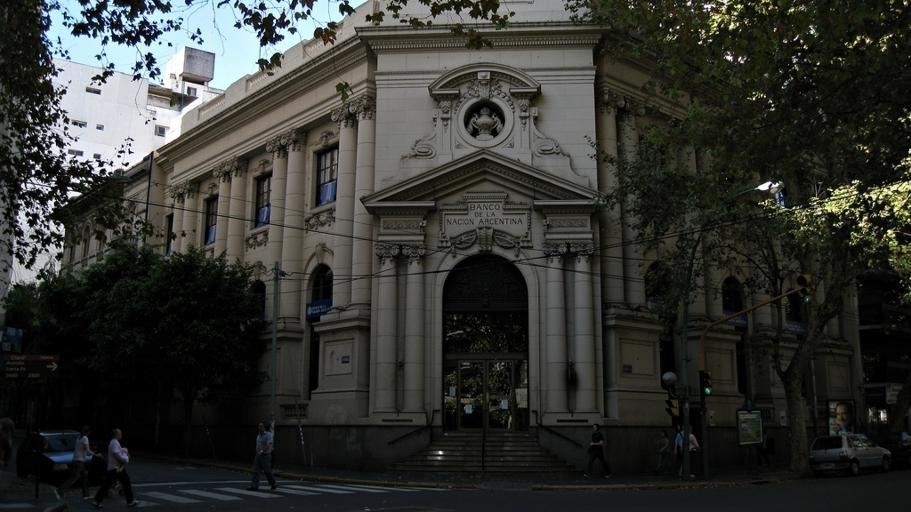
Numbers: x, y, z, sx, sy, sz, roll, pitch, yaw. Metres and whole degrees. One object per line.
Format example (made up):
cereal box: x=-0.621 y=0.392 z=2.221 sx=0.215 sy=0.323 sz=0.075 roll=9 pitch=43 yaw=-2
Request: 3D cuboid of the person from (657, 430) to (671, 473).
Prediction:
person: x=11.657 y=10.954 z=47.061 sx=0.749 sy=2.398 sz=1.351 roll=-7 pitch=-21 yaw=21

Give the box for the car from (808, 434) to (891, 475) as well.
car: x=22.921 y=11.623 z=48.354 sx=7.747 sy=2.303 sz=1.920 roll=15 pitch=-24 yaw=-38

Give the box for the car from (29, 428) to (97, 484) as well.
car: x=-19.572 y=9.714 z=41.151 sx=2.424 sy=2.051 sz=4.466 roll=2 pitch=-1 yaw=-45

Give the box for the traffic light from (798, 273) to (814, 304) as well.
traffic light: x=17.315 y=1.513 z=41.615 sx=0.547 sy=1.476 sz=1.355 roll=-8 pitch=-20 yaw=23

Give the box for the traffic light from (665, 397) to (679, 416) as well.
traffic light: x=11.124 y=7.739 z=42.878 sx=0.669 sy=1.046 sz=1.138 roll=-4 pitch=-19 yaw=13
